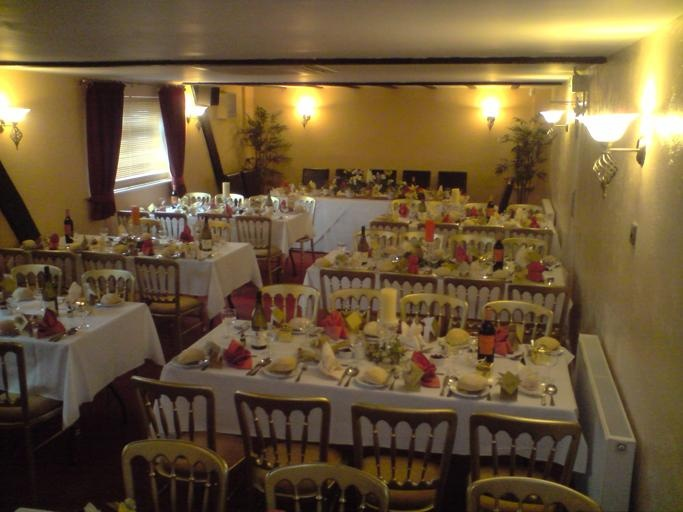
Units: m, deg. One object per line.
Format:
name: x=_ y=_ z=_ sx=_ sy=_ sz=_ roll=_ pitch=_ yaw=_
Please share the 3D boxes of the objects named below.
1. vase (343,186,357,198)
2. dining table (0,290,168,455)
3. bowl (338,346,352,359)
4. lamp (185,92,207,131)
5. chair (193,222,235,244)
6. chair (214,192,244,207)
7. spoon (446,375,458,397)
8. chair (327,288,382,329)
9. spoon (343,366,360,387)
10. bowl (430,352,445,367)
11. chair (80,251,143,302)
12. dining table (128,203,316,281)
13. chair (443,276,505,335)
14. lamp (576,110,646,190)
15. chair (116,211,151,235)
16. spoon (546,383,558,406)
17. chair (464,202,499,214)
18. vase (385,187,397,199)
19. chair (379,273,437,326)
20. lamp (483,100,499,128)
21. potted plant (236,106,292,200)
vase: x=0.142 y=-1.194 z=10.288 sx=0.228 sy=0.201 sz=0.261 roll=-1 pitch=7 yaw=1
dining table: x=-2.073 y=0.902 z=4.536 sx=0.983 sy=0.479 sz=0.979 roll=6 pitch=11 yaw=13
bowl: x=0.032 y=0.700 z=3.947 sx=0.070 sy=0.057 sz=0.076 roll=0 pitch=11 yaw=0
lamp: x=-2.889 y=-2.853 z=10.803 sx=0.536 sy=0.538 sz=0.123 roll=-8 pitch=28 yaw=-45
chair: x=-1.769 y=-0.335 z=7.593 sx=0.399 sy=0.525 sz=0.357 roll=1 pitch=2 yaw=1
chair: x=-1.921 y=-0.977 z=9.568 sx=0.471 sy=0.298 sz=0.475 roll=0 pitch=4 yaw=-4
spoon: x=0.713 y=0.856 z=3.546 sx=0.047 sy=0.029 sz=0.205 roll=-1 pitch=13 yaw=14
chair: x=0.104 y=0.433 z=4.952 sx=0.392 sy=0.532 sz=0.383 roll=1 pitch=0 yaw=8
spoon: x=0.064 y=0.801 z=3.651 sx=0.041 sy=0.029 sz=0.199 roll=15 pitch=26 yaw=5
bowl: x=0.668 y=0.739 z=3.864 sx=0.078 sy=0.049 sz=0.079 roll=4 pitch=4 yaw=0
chair: x=-2.317 y=0.223 z=5.485 sx=0.383 sy=0.659 sz=0.428 roll=4 pitch=17 yaw=4
dining table: x=-1.129 y=-0.289 z=8.549 sx=1.692 sy=0.836 sz=1.373 roll=2 pitch=9 yaw=16
chair: x=1.283 y=0.410 z=5.279 sx=0.444 sy=0.780 sz=0.493 roll=6 pitch=17 yaw=24
lamp: x=1.830 y=-0.705 z=3.765 sx=0.477 sy=0.471 sz=0.431 roll=0 pitch=2 yaw=40
chair: x=-2.801 y=-0.442 z=7.379 sx=0.289 sy=0.499 sz=0.297 roll=4 pitch=27 yaw=-3
spoon: x=1.322 y=0.884 z=3.455 sx=0.045 sy=0.021 sz=0.143 roll=0 pitch=28 yaw=20
chair: x=2.296 y=-0.789 z=9.042 sx=0.144 sy=0.146 sz=0.534 roll=-22 pitch=26 yaw=-37
vase: x=0.974 y=-1.148 z=10.254 sx=0.252 sy=0.246 sz=0.251 roll=1 pitch=6 yaw=-12
chair: x=0.637 y=0.390 z=5.194 sx=0.352 sy=0.563 sz=0.354 roll=3 pitch=1 yaw=8
lamp: x=3.198 y=-3.038 z=11.727 sx=0.328 sy=0.631 sz=0.178 roll=3 pitch=12 yaw=14
potted plant: x=-1.870 y=-2.481 z=12.755 sx=1.207 sy=2.006 sz=0.979 roll=-7 pitch=14 yaw=-30
